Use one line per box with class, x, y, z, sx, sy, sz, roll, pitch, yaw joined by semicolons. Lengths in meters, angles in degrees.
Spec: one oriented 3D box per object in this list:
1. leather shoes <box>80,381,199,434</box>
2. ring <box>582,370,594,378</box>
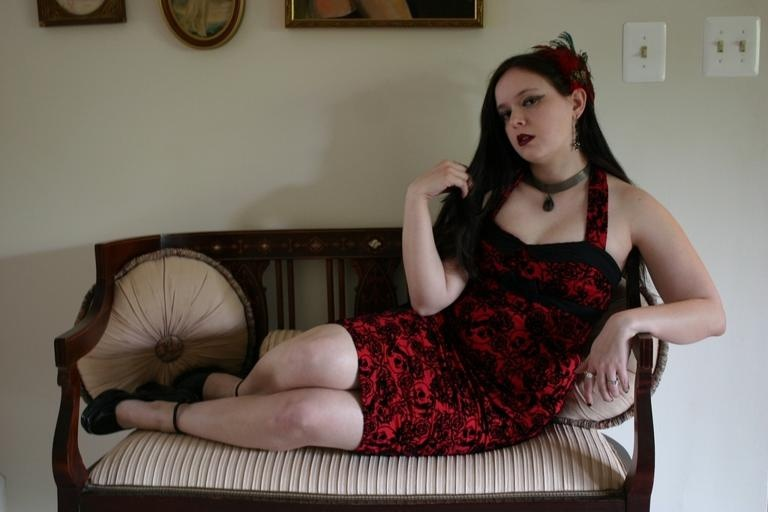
leather shoes;-0.824;0.516;2.406;0.312;0.128;0.133;-8;-12;-33
ring;0.654;0.378;2.281;0.030;0.020;0.044;-2;1;-12
